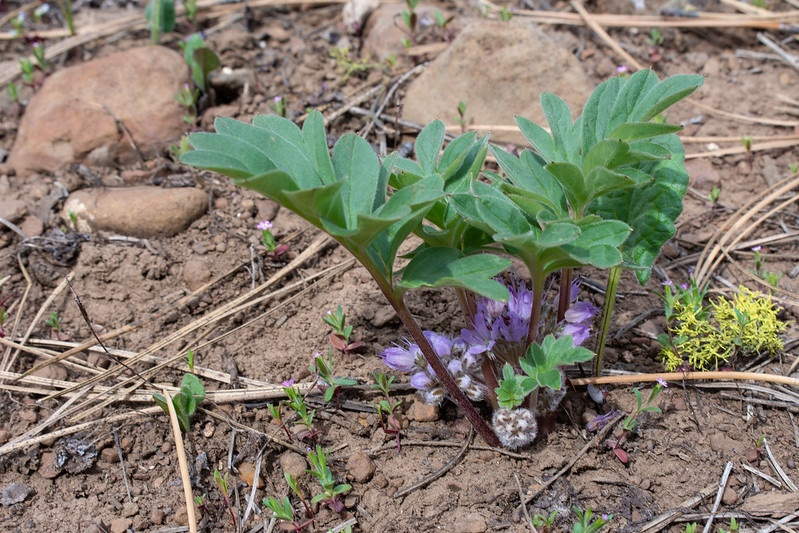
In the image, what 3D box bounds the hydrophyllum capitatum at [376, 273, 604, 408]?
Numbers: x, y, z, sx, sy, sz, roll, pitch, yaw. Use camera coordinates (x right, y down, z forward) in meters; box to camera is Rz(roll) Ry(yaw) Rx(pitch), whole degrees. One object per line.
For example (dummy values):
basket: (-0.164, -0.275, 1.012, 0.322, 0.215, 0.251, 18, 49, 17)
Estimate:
hydrophyllum capitatum: (0.458, 0.403, 4.213, 0.790, 0.298, 0.716, -23, 6, -21)
